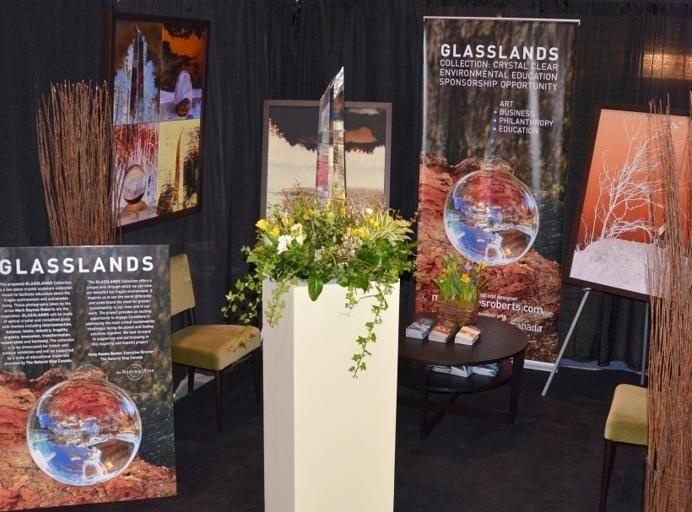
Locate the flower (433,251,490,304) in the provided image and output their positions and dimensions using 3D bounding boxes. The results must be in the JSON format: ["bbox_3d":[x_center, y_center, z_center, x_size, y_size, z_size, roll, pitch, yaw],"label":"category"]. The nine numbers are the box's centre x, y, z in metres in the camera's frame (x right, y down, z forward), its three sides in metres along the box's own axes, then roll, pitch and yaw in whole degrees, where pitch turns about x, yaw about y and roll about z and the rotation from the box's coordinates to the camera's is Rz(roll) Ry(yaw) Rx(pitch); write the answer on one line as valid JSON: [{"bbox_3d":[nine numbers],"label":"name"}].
[{"bbox_3d":[0.882,0.175,5.078,0.392,0.412,0.411,5,2,-2],"label":"flower"}]

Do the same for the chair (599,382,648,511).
[{"bbox_3d":[1.736,1.195,4.038,0.229,0.673,0.521,7,13,24],"label":"chair"}]

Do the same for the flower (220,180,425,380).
[{"bbox_3d":[-0.091,-0.046,3.379,0.933,0.973,0.974,19,2,17],"label":"flower"}]

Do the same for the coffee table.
[{"bbox_3d":[0.820,0.937,5.059,1.028,0.698,1.061,2,14,9],"label":"coffee table"}]
